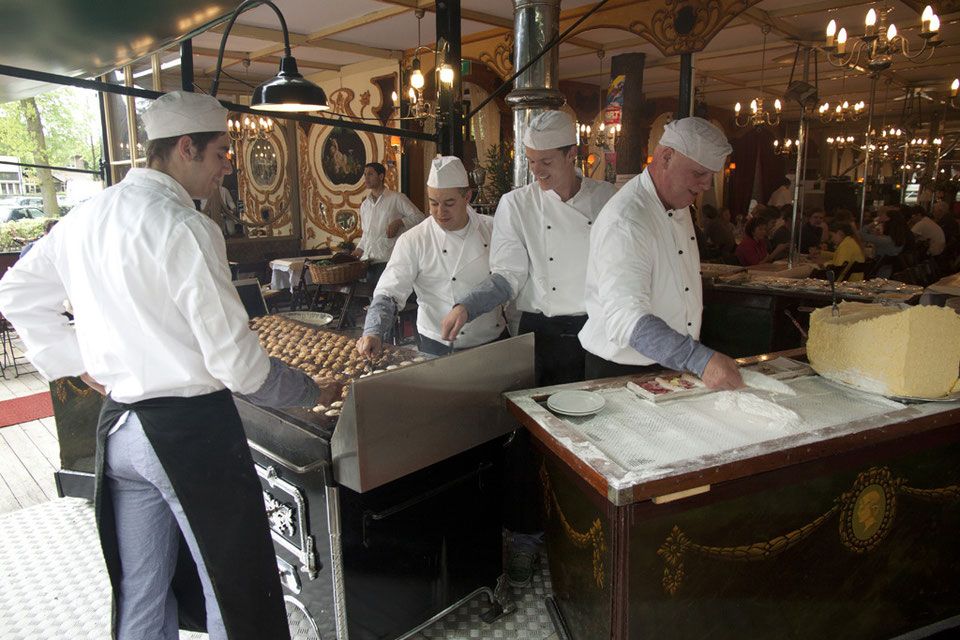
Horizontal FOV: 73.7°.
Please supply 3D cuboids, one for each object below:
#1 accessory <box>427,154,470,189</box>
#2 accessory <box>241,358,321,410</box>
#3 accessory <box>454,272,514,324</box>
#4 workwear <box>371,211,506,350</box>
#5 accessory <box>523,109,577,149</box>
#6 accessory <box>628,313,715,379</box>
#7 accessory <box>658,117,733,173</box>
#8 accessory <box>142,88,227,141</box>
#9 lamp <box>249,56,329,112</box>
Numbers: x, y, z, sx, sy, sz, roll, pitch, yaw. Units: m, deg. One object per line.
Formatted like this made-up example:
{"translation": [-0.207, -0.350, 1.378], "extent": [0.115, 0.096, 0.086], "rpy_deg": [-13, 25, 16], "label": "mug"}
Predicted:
{"translation": [-0.170, -0.817, 3.566], "extent": [0.182, 0.176, 0.286], "rpy_deg": [9, 17, 35], "label": "accessory"}
{"translation": [-0.823, 0.264, 2.614], "extent": [0.107, 0.183, 0.275], "rpy_deg": [8, -15, 47], "label": "accessory"}
{"translation": [0.016, -0.100, 3.445], "extent": [0.308, 0.200, 0.123], "rpy_deg": [-41, 3, -23], "label": "accessory"}
{"translation": [-0.270, -0.266, 3.714], "extent": [1.111, 0.751, 0.627], "rpy_deg": [-3, 15, -11], "label": "workwear"}
{"translation": [0.384, -1.001, 3.396], "extent": [0.308, 0.214, 0.216], "rpy_deg": [-3, 14, -9], "label": "accessory"}
{"translation": [0.798, 0.108, 2.661], "extent": [0.309, 0.214, 0.133], "rpy_deg": [33, -11, 25], "label": "accessory"}
{"translation": [0.966, -0.779, 2.872], "extent": [0.306, 0.239, 0.182], "rpy_deg": [3, 14, 14], "label": "accessory"}
{"translation": [-1.141, -0.798, 2.471], "extent": [0.256, 0.149, 0.187], "rpy_deg": [-11, 25, -31], "label": "accessory"}
{"translation": [-0.900, -1.069, 3.094], "extent": [0.306, 0.208, 0.315], "rpy_deg": [0, 14, 0], "label": "lamp"}
